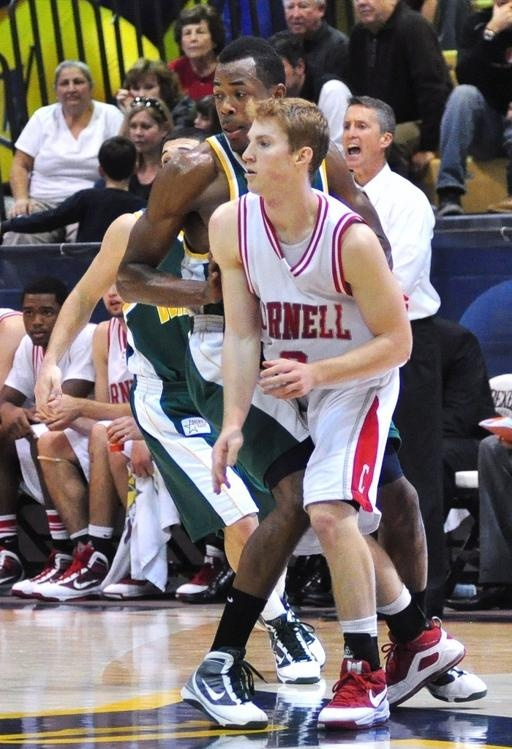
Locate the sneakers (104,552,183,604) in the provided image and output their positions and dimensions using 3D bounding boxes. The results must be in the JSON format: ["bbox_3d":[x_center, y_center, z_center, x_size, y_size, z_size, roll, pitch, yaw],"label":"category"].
[{"bbox_3d":[-0.490,0.978,4.278,0.376,0.144,0.127,2,-7,-24],"label":"sneakers"}]

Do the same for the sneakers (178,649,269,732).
[{"bbox_3d":[-0.053,0.617,1.841,0.111,0.119,0.228,13,-5,-34],"label":"sneakers"}]

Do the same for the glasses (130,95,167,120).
[{"bbox_3d":[-0.613,-1.550,5.420,0.158,0.068,0.173,1,-14,9],"label":"glasses"}]

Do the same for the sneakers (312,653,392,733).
[{"bbox_3d":[0.184,0.622,1.777,0.113,0.149,0.140,-1,9,15],"label":"sneakers"}]

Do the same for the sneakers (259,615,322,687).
[{"bbox_3d":[0.089,0.729,2.488,0.086,0.090,0.234,-19,24,-5],"label":"sneakers"}]

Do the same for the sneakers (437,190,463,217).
[{"bbox_3d":[0.925,-0.816,4.514,0.096,0.148,0.240,0,-7,2],"label":"sneakers"}]

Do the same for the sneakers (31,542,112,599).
[{"bbox_3d":[-0.841,0.913,4.289,0.145,0.220,0.420,9,5,40],"label":"sneakers"}]

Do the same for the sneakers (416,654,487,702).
[{"bbox_3d":[0.440,0.681,2.074,0.060,0.069,0.160,-28,6,-36],"label":"sneakers"}]

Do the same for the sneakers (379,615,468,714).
[{"bbox_3d":[0.360,0.638,2.054,0.197,0.175,0.123,-6,9,-13],"label":"sneakers"}]

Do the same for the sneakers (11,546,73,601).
[{"bbox_3d":[-1.009,0.954,4.419,0.137,0.223,0.407,-3,-10,23],"label":"sneakers"}]
